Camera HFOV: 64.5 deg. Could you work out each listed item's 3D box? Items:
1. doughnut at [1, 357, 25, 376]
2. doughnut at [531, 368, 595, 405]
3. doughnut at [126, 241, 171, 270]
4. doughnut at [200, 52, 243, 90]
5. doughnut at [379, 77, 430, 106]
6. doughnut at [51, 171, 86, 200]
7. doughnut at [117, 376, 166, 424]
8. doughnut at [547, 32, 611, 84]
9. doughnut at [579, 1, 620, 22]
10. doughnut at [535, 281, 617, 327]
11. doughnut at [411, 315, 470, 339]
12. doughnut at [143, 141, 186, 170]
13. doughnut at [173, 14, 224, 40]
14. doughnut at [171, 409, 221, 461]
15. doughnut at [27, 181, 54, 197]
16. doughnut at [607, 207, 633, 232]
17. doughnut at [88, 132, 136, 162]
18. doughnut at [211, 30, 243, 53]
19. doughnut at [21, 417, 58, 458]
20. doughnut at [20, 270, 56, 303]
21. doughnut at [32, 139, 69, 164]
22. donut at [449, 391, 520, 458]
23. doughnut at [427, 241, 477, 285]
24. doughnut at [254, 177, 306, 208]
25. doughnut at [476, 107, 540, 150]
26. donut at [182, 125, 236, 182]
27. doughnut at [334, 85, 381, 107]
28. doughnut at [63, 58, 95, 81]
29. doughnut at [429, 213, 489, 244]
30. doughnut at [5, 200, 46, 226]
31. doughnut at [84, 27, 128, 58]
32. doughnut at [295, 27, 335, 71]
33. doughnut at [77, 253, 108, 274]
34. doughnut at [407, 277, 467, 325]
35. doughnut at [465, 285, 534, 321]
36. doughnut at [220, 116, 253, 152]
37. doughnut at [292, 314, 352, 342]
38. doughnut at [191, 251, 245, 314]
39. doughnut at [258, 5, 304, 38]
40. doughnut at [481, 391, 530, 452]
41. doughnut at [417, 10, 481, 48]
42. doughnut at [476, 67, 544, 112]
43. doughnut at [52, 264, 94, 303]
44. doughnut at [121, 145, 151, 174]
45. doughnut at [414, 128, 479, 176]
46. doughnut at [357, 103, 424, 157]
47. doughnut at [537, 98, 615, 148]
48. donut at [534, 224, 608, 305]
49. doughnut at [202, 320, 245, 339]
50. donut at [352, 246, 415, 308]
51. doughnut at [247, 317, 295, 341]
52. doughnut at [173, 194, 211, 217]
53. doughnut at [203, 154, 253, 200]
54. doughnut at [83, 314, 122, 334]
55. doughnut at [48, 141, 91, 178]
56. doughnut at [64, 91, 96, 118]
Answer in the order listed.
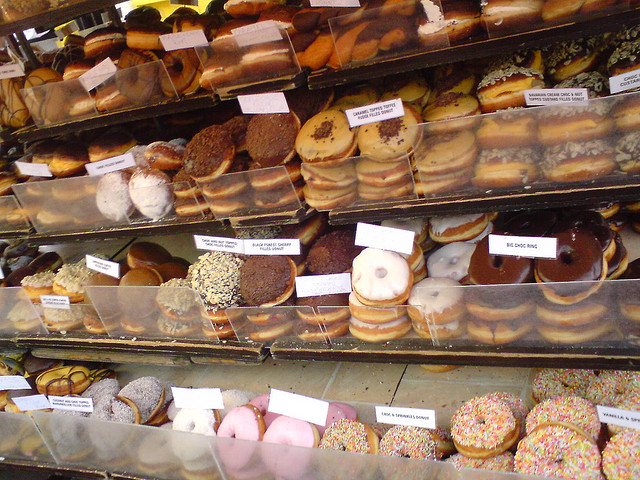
[{"bbox_3d":[-1.621,0.664,2.651,0.126,0.033,0.101,21,17,4],"label":"doughnut"},{"bbox_3d":[0.875,0.523,1.842,0.209,0.061,0.168,-1,24,15],"label":"doughnut"},{"bbox_3d":[-0.868,0.073,2.537,0.168,0.075,0.169,17,15,33],"label":"doughnut"},{"bbox_3d":[-0.382,-0.641,1.915,0.206,0.125,0.045,7,37,33],"label":"doughnut"},{"bbox_3d":[0.342,-0.581,1.959,0.150,0.049,0.171,-15,28,2],"label":"doughnut"},{"bbox_3d":[-1.170,-0.239,2.333,0.187,0.101,0.037,-4,32,16],"label":"doughnut"},{"bbox_3d":[-0.802,0.707,2.312,0.209,0.083,0.195,21,45,17],"label":"doughnut"},{"bbox_3d":[0.947,-0.670,1.840,0.175,0.087,0.171,-40,36,-13],"label":"doughnut"},{"bbox_3d":[0.835,-0.691,1.528,0.069,0.028,0.066,2,24,37],"label":"doughnut"},{"bbox_3d":[0.852,0.222,1.668,0.194,0.059,0.188,8,41,31],"label":"doughnut"},{"bbox_3d":[0.445,0.329,1.852,0.134,0.040,0.123,-6,10,-22],"label":"doughnut"},{"bbox_3d":[-0.682,-0.374,2.217,0.157,0.052,0.142,9,41,1],"label":"doughnut"},{"bbox_3d":[-0.517,-0.895,2.137,0.168,0.071,0.197,5,20,10],"label":"doughnut"},{"bbox_3d":[-0.504,0.778,2.038,0.189,0.166,0.063,9,-9,38],"label":"doughnut"},{"bbox_3d":[-1.312,-0.235,2.363,0.162,0.073,0.011,-3,33,18],"label":"doughnut"},{"bbox_3d":[1.219,-0.077,2.057,0.133,0.036,0.121,9,47,19],"label":"doughnut"},{"bbox_3d":[-1.000,-0.423,2.404,0.170,0.078,0.173,7,31,45],"label":"doughnut"},{"bbox_3d":[-0.351,-0.720,1.860,0.131,0.056,0.025,12,40,39],"label":"doughnut"},{"bbox_3d":[-1.260,0.877,2.266,0.178,0.196,0.095,19,29,-2],"label":"doughnut"},{"bbox_3d":[-1.401,0.225,2.492,0.154,0.054,0.170,8,27,-4],"label":"doughnut"},{"bbox_3d":[-1.363,-0.460,2.542,0.150,0.064,0.145,16,42,42],"label":"doughnut"},{"bbox_3d":[0.563,0.647,1.754,0.219,0.125,0.179,-19,28,-11],"label":"donut"},{"bbox_3d":[0.533,0.089,2.031,0.095,0.192,0.215,13,-29,-31],"label":"doughnut"},{"bbox_3d":[-0.160,-0.163,1.966,0.153,0.039,0.142,-13,-1,9],"label":"doughnut"},{"bbox_3d":[0.620,-0.366,1.682,0.167,0.077,0.149,-15,29,12],"label":"doughnut"},{"bbox_3d":[-0.413,-0.339,2.064,0.246,0.072,0.220,-3,57,31],"label":"donut"},{"bbox_3d":[0.148,-0.570,2.008,0.150,0.046,0.135,1,32,16],"label":"doughnut"},{"bbox_3d":[-1.098,-0.772,2.273,0.125,0.063,0.123,-33,30,-25],"label":"doughnut"},{"bbox_3d":[0.554,-0.041,2.110,0.231,0.081,0.223,-16,18,-34],"label":"doughnut"},{"bbox_3d":[-1.425,-0.109,2.484,0.163,0.049,0.156,-15,18,19],"label":"doughnut"},{"bbox_3d":[-0.951,-0.890,2.302,0.173,0.076,0.160,3,32,25],"label":"doughnut"},{"bbox_3d":[-0.017,-0.678,1.812,0.152,0.129,0.048,-6,32,14],"label":"doughnut"},{"bbox_3d":[-1.179,0.097,2.642,0.140,0.034,0.121,-3,57,8],"label":"doughnut"},{"bbox_3d":[0.420,0.216,1.849,0.183,0.064,0.170,-20,33,-8],"label":"doughnut"},{"bbox_3d":[0.649,0.232,1.830,0.247,0.070,0.228,-8,6,-24],"label":"doughnut"},{"bbox_3d":[-0.342,-0.460,2.099,0.162,0.072,0.146,-17,51,11],"label":"doughnut"},{"bbox_3d":[0.004,0.356,2.025,0.160,0.040,0.152,1,6,24],"label":"doughnut"},{"bbox_3d":[-0.433,0.222,2.119,0.276,0.084,0.276,-6,25,-8],"label":"doughnut"},{"bbox_3d":[-0.129,-0.809,1.933,0.198,0.049,0.186,-1,45,0],"label":"doughnut"},{"bbox_3d":[0.685,0.628,1.825,0.207,0.059,0.193,2,18,21],"label":"doughnut"},{"bbox_3d":[0.418,-0.694,1.654,0.144,0.053,0.137,3,-17,-38],"label":"doughnut"},{"bbox_3d":[0.659,-0.540,1.768,0.189,0.090,0.186,-35,41,-24],"label":"doughnut"},{"bbox_3d":[-1.216,0.190,2.452,0.178,0.065,0.181,-14,39,-23],"label":"doughnut"},{"bbox_3d":[-0.817,-0.376,2.341,0.146,0.063,0.133,15,51,30],"label":"doughnut"},{"bbox_3d":[0.448,-0.294,1.759,0.176,0.082,0.167,-31,34,-16],"label":"doughnut"},{"bbox_3d":[0.242,-0.368,1.789,0.220,0.073,0.187,-22,64,-4],"label":"doughnut"},{"bbox_3d":[0.811,-0.372,1.609,0.169,0.074,0.162,-1,21,29],"label":"doughnut"},{"bbox_3d":[0.844,0.075,1.694,0.264,0.101,0.248,-19,51,17],"label":"donut"},{"bbox_3d":[-0.411,0.379,2.144,0.120,0.034,0.117,-1,2,17],"label":"doughnut"},{"bbox_3d":[0.227,0.128,1.912,0.259,0.101,0.248,12,60,22],"label":"donut"},{"bbox_3d":[-0.204,0.371,2.086,0.145,0.035,0.133,-6,7,-17],"label":"doughnut"},{"bbox_3d":[-0.551,-0.141,2.134,0.118,0.049,0.112,7,18,23],"label":"doughnut"},{"bbox_3d":[-0.371,-0.237,1.999,0.196,0.062,0.181,-15,47,34],"label":"doughnut"},{"bbox_3d":[-1.049,0.397,2.408,0.134,0.034,0.121,3,17,1],"label":"doughnut"},{"bbox_3d":[-1.210,-0.395,2.470,0.157,0.063,0.195,11,40,11],"label":"doughnut"},{"bbox_3d":[-1.052,-0.594,2.214,0.164,0.093,0.036,0,34,23],"label":"doughnut"}]
